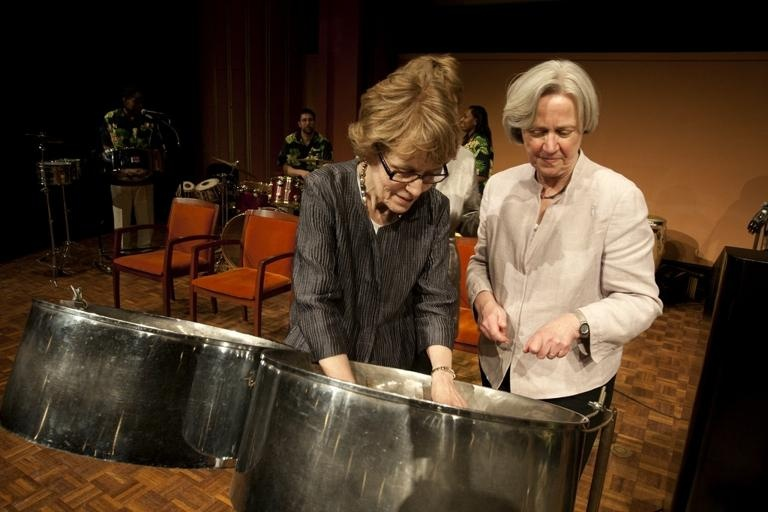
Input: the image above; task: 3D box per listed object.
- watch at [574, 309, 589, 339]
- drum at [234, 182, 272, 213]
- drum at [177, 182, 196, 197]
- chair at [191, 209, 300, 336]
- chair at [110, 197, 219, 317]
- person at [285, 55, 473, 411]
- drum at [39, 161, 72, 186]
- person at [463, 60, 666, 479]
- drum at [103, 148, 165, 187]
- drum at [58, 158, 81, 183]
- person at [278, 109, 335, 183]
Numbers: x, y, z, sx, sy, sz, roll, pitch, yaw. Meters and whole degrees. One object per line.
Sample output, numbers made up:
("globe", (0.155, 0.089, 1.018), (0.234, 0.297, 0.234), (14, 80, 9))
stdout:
("watch", (0.678, 0.243, 1.986), (0.050, 0.090, 0.076), (-1, 7, 7))
("drum", (-1.334, -0.619, 5.955), (0.376, 0.268, 0.374), (2, 15, 0))
("drum", (-2.043, -0.686, 6.012), (0.154, 0.139, 0.318), (0, 10, -18))
("chair", (-0.981, 0.128, 4.097), (0.696, 1.031, 0.701), (7, 11, 23))
("chair", (-1.695, 0.008, 4.546), (0.661, 0.966, 0.700), (7, 8, 13))
("person", (-0.014, -0.114, 1.920), (0.597, 1.127, 0.387), (2, 9, -5))
("drum", (-2.952, -0.755, 5.268), (0.200, 0.249, 0.310), (12, 12, 42))
("person", (0.618, -0.056, 2.060), (0.712, 1.259, 0.409), (8, 10, 27))
("drum", (-2.522, -0.887, 5.715), (0.425, 0.185, 0.396), (-6, -7, -1))
("drum", (-2.851, -0.786, 5.380), (0.180, 0.196, 0.298), (-4, 23, -8))
("person", (-0.796, -1.145, 6.058), (0.578, 0.798, 0.505), (1, -2, -10))
